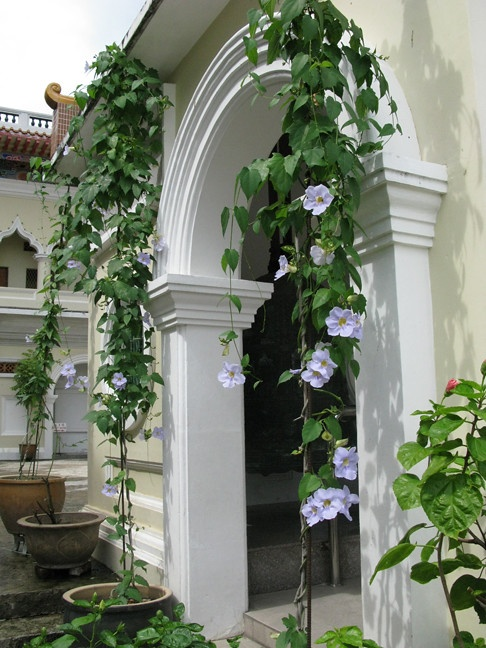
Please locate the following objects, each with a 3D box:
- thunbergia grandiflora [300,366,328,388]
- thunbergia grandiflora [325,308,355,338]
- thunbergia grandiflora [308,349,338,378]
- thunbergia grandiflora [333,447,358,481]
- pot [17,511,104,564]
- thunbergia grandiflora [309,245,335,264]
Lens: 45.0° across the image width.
[{"bbox_3d":[0.179,0.134,1.472,0.055,0.058,0.025,8,-26,0],"label":"thunbergia grandiflora"},{"bbox_3d":[0.246,0.002,1.462,0.073,0.071,0.134,-3,-10,7],"label":"thunbergia grandiflora"},{"bbox_3d":[0.196,0.095,1.435,0.067,0.067,0.024,-15,6,7],"label":"thunbergia grandiflora"},{"bbox_3d":[0.255,0.354,1.475,0.074,0.081,0.034,-3,11,-30],"label":"thunbergia grandiflora"},{"bbox_3d":[-1.167,1.394,3.888,0.532,0.299,0.540,-1,-19,0],"label":"pot"},{"bbox_3d":[0.201,-0.181,1.504,0.049,0.054,0.026,6,10,38],"label":"thunbergia grandiflora"}]
